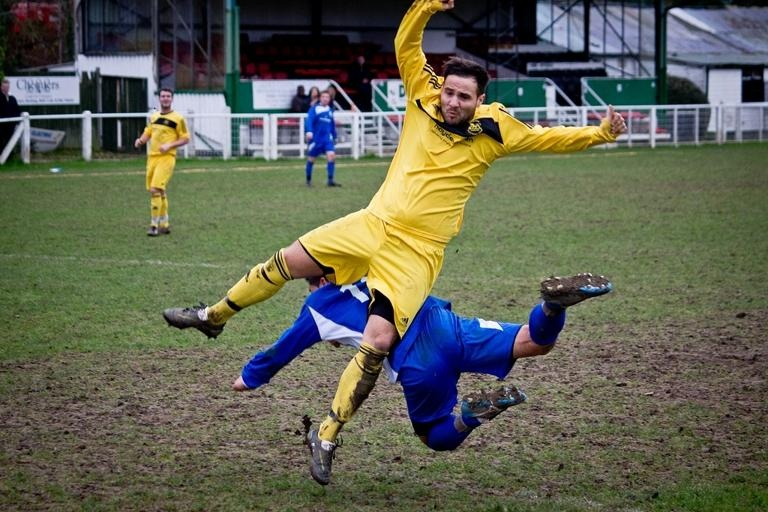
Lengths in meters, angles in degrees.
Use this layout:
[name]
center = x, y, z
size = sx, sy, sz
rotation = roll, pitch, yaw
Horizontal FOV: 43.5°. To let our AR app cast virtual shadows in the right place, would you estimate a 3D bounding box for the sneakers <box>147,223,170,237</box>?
[sneakers]
center = -3.839, -0.415, 16.403
size = 0.151, 0.163, 0.422
rotation = -1, -3, 35
